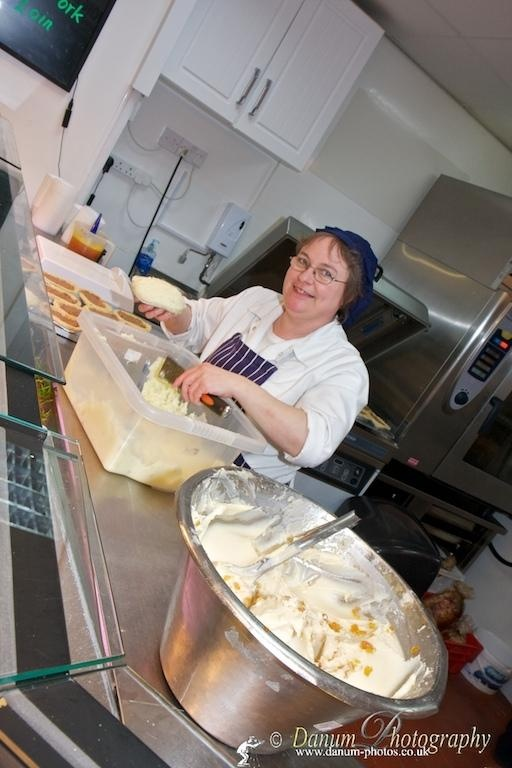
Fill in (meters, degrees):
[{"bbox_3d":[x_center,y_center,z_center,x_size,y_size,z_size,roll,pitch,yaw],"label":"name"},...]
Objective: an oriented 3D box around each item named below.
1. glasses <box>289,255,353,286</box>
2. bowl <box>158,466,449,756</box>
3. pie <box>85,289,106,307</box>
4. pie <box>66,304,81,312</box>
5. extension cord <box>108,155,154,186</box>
[{"bbox_3d":[0.155,-0.300,1.439,0.108,0.036,0.112,31,3,30],"label":"glasses"},{"bbox_3d":[0.018,0.253,0.578,0.285,0.174,0.281,27,17,-9],"label":"bowl"},{"bbox_3d":[-0.518,-0.275,1.710,0.079,0.007,0.106,30,16,-25],"label":"pie"},{"bbox_3d":[-0.514,-0.210,1.497,0.045,0.014,0.047,1,26,-24],"label":"pie"},{"bbox_3d":[-0.615,-1.040,2.635,0.230,0.092,0.054,19,23,-50],"label":"extension cord"}]
